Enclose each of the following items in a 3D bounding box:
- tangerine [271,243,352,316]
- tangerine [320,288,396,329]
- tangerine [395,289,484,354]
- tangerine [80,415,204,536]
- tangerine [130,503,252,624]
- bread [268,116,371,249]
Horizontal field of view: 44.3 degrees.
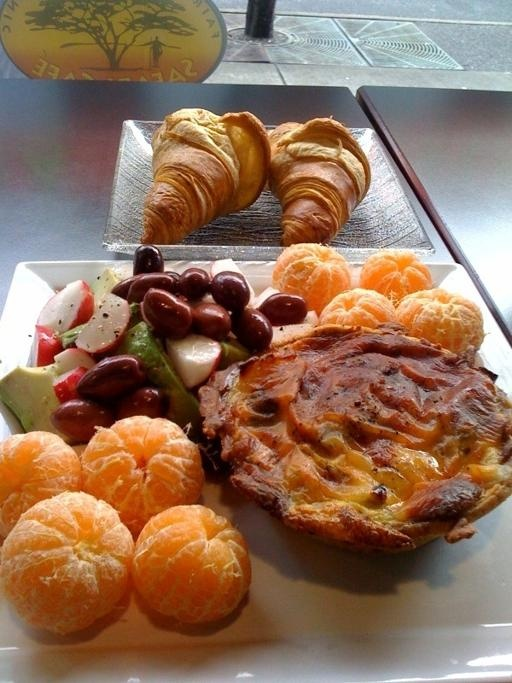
[{"bbox_3d":[0.121,-0.140,1.389,0.169,0.122,0.156,33,70,8],"label":"tangerine"},{"bbox_3d":[0.200,-0.063,1.198,0.167,0.040,0.113,0,24,9],"label":"tangerine"},{"bbox_3d":[0.361,-0.037,1.219,0.155,0.092,0.141,6,13,-33],"label":"tangerine"},{"bbox_3d":[-0.161,0.185,0.920,0.199,0.096,0.168,12,56,-6],"label":"tangerine"},{"bbox_3d":[-0.085,0.297,0.856,0.158,0.103,0.130,4,36,-8],"label":"tangerine"},{"bbox_3d":[0.167,-0.411,1.673,0.299,0.203,0.478,11,44,-3],"label":"bread"}]
